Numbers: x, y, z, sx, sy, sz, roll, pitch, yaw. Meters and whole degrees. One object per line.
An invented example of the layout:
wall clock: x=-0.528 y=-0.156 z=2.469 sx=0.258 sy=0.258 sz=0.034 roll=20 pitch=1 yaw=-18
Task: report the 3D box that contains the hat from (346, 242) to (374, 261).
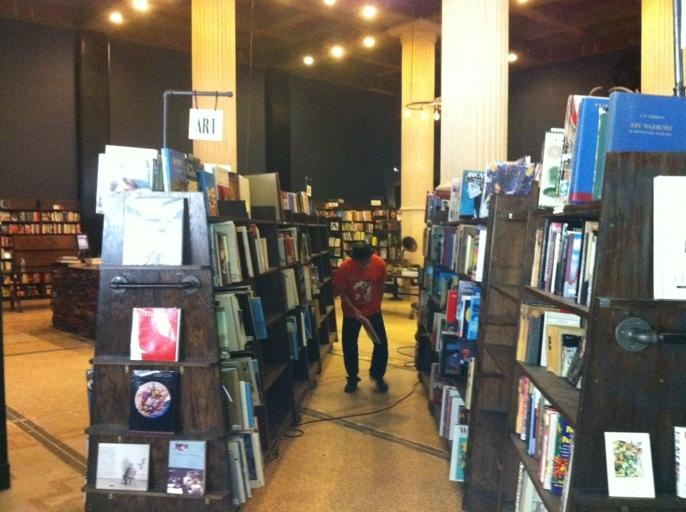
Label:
hat: x=0.211 y=-0.042 z=7.237 sx=0.338 sy=0.153 sz=0.407 roll=-2 pitch=10 yaw=0
